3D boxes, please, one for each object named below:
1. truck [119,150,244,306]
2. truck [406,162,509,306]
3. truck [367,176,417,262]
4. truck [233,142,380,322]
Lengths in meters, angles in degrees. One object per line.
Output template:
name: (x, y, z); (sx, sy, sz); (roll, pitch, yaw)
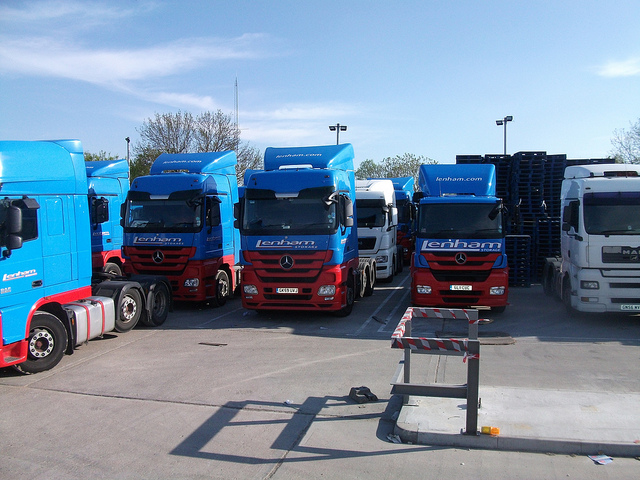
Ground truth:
truck: (-3.966, -0.452, 18.097); (2.811, 5.053, 8.785); (2, -1, 8)
truck: (4.701, -0.049, 17.137); (2.701, 4.677, 8.820); (0, -3, 15)
truck: (3.768, -1.258, 22.250); (1.928, 2.954, 5.517); (-1, 1, 20)
truck: (-0.401, -0.309, 13.702); (2.752, 4.962, 2.898); (0, 5, 11)
